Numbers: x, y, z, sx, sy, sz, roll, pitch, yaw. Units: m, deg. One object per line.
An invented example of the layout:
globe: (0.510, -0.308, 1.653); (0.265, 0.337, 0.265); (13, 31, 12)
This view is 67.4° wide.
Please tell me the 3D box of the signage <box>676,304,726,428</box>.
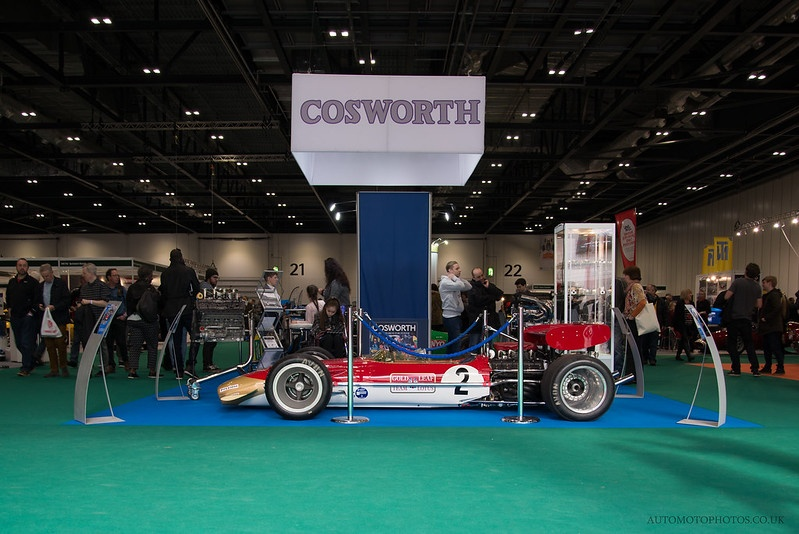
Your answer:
signage: (4.073, 1.227, 8.066); (0.515, 1.513, 0.469); (-4, -7, 39)

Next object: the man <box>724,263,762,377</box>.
man: (6.500, 0.966, 11.255); (0.663, 2.151, 0.642); (3, -4, 37)

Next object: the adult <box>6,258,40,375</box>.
adult: (-6.917, 0.916, 11.077); (0.514, 2.156, 0.608); (-5, 8, -38)

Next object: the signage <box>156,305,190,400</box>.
signage: (-3.585, 1.272, 9.297); (0.502, 1.579, 0.353); (-3, -3, -29)

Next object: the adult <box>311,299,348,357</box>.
adult: (-1.153, 1.142, 10.240); (0.631, 1.265, 0.688); (-5, 24, -19)

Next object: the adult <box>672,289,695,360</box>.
adult: (6.856, 1.390, 14.305); (0.491, 1.733, 0.515); (3, 4, 39)

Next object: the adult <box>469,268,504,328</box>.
adult: (1.573, 0.649, 11.103); (0.607, 1.289, 2.024); (1, 6, 11)

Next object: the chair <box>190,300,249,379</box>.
chair: (-2.898, 1.125, 9.725); (0.864, 1.122, 0.826); (-1, -3, -7)

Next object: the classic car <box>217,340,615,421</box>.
classic car: (0.348, 1.622, 8.247); (4.397, 0.844, 1.970); (-1, -1, -3)

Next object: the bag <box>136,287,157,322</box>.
bag: (-4.437, 0.674, 10.618); (0.193, 0.586, 0.420); (-1, -10, 4)

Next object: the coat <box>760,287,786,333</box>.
coat: (7.136, 0.827, 11.369); (0.449, 0.895, 0.695); (4, 11, 34)

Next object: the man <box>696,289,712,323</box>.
man: (8.193, 1.041, 16.053); (0.338, 1.132, 0.433); (2, -29, 27)

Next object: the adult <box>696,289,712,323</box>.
adult: (8.193, 1.041, 16.053); (0.338, 1.132, 0.433); (2, -29, 27)

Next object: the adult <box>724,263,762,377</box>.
adult: (6.465, 0.956, 11.254); (0.667, 2.155, 0.700); (8, -4, -39)

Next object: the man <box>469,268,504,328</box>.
man: (1.579, 0.646, 11.133); (0.607, 1.289, 2.014); (1, 6, 11)

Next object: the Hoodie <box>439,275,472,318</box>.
Hoodie: (0.991, 0.541, 10.845); (0.512, 0.755, 0.565); (-4, -4, 20)

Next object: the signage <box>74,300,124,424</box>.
signage: (-4.124, 1.279, 8.186); (0.609, 1.609, 1.190); (-3, 7, -26)

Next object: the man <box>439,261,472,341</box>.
man: (1.026, 0.849, 10.759); (0.561, 1.800, 0.578); (-3, -2, -2)

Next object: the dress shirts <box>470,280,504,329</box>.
dress shirts: (1.656, 0.662, 11.183); (0.523, 0.855, 0.461); (4, 8, 7)

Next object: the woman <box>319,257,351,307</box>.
woman: (-1.138, 0.596, 10.853); (0.511, 1.466, 0.539); (-6, 21, -23)

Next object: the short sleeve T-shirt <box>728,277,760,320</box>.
short sleeve T-shirt: (6.448, 0.643, 11.189); (0.597, 0.825, 0.299); (14, -9, 8)

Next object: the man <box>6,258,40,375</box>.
man: (-6.917, 0.915, 11.083); (0.498, 2.156, 0.616); (-5, 8, -41)

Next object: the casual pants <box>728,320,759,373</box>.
casual pants: (6.357, 1.432, 11.088); (0.451, 1.088, 0.322); (-5, -10, 20)

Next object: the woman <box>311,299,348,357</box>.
woman: (-1.149, 1.146, 10.198); (0.607, 1.245, 0.673); (2, -8, -21)

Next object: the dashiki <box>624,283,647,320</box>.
dashiki: (4.178, 0.633, 10.605); (0.338, 0.687, 0.575); (2, -6, 7)
